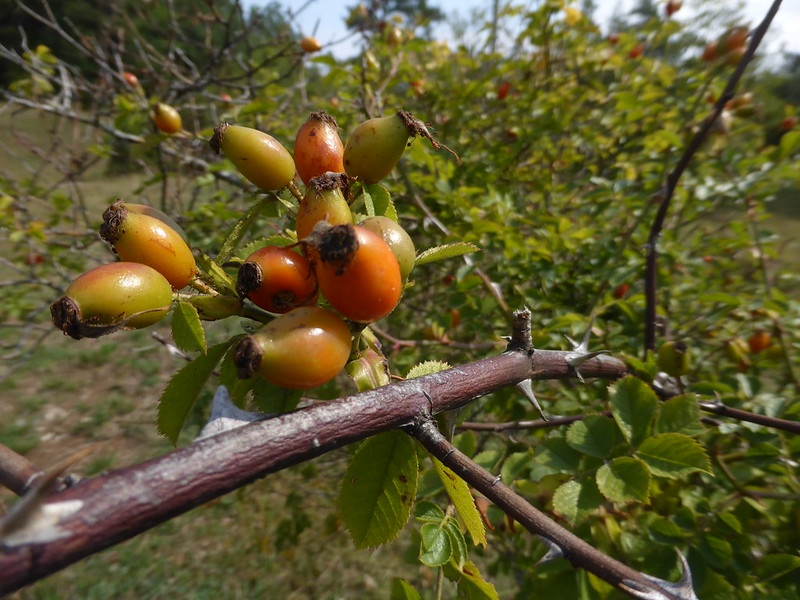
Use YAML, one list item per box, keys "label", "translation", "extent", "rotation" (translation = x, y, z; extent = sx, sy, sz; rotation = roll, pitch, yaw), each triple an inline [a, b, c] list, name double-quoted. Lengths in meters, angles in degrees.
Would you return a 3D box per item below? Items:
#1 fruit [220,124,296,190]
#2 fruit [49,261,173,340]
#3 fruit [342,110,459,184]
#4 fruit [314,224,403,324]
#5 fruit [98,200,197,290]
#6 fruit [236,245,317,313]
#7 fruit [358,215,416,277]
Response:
- label: "fruit"
  translation: [-0.580, -0.580, 2.718]
  extent: [0.348, 0.187, 0.195]
  rotation: [28, -9, -7]
- label: "fruit"
  translation: [-1.111, -0.015, 2.515]
  extent: [0.316, 0.257, 0.466]
  rotation: [28, 33, 30]
- label: "fruit"
  translation: [0.014, -0.628, 2.613]
  extent: [0.516, 0.239, 0.229]
  rotation: [-4, 0, 37]
- label: "fruit"
  translation: [-0.141, -0.084, 2.483]
  extent: [0.388, 0.308, 0.288]
  rotation: [42, 41, -41]
- label: "fruit"
  translation: [-0.969, -0.238, 2.580]
  extent: [0.451, 0.255, 0.256]
  rotation: [29, 49, 25]
- label: "fruit"
  translation: [-0.482, -0.085, 2.621]
  extent: [0.286, 0.251, 0.367]
  rotation: [-8, -8, 28]
- label: "fruit"
  translation: [-0.014, -0.227, 2.595]
  extent: [0.246, 0.186, 0.148]
  rotation: [41, 39, 4]
